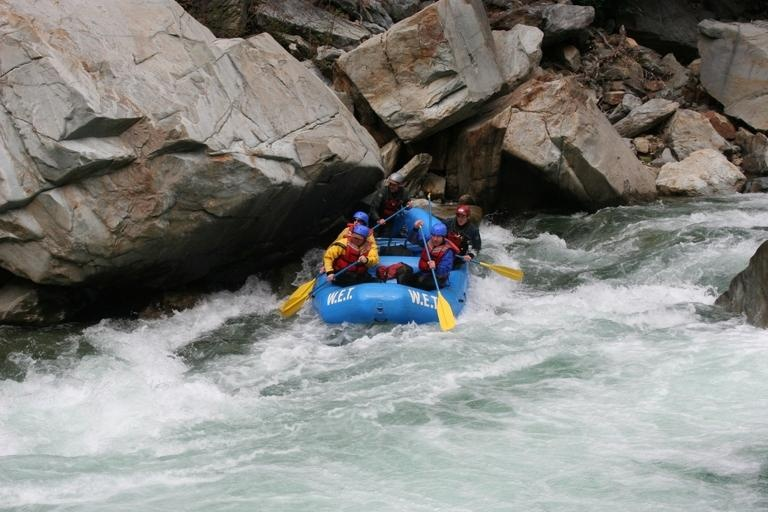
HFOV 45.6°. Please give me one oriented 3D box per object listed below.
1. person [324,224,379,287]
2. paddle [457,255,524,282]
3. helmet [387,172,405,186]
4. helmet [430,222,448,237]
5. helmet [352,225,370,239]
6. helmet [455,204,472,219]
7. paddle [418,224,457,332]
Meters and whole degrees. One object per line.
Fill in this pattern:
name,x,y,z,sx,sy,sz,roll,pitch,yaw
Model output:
person,-0.574,0.029,16.385,1.020,1.115,0.716,6,24,-21
paddle,1.973,0.262,17.529,1.233,0.132,0.086,21,5,3
helmet,0.215,-1.526,17.881,0.311,0.201,0.224,21,-2,-16
helmet,0.973,-0.496,16.493,0.229,0.216,0.273,10,26,8
helmet,-0.426,-0.442,16.296,0.226,0.214,0.296,24,-10,34
helmet,1.472,-0.865,17.211,0.230,0.133,0.309,4,-1,19
paddle,0.818,0.553,16.059,0.312,0.082,2.085,-10,41,-14
